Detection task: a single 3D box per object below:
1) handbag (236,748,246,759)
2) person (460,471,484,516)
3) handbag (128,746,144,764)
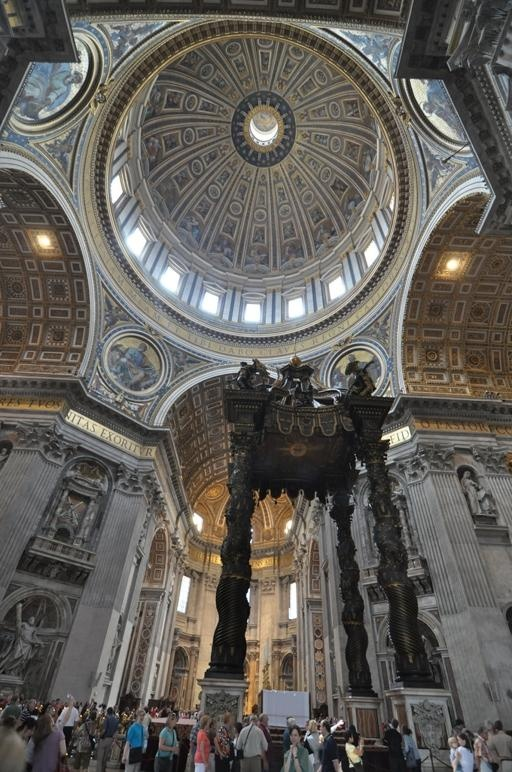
[{"bbox_3d":[-0.158,3.728,4.627,0.064,0.108,0.246,7,-37,-2],"label":"handbag"},{"bbox_3d":[6.100,3.002,12.721,0.507,1.395,0.218,8,-38,-4],"label":"person"},{"bbox_3d":[-1.601,4.947,6.105,0.097,0.184,0.295,-4,-38,12],"label":"handbag"}]
